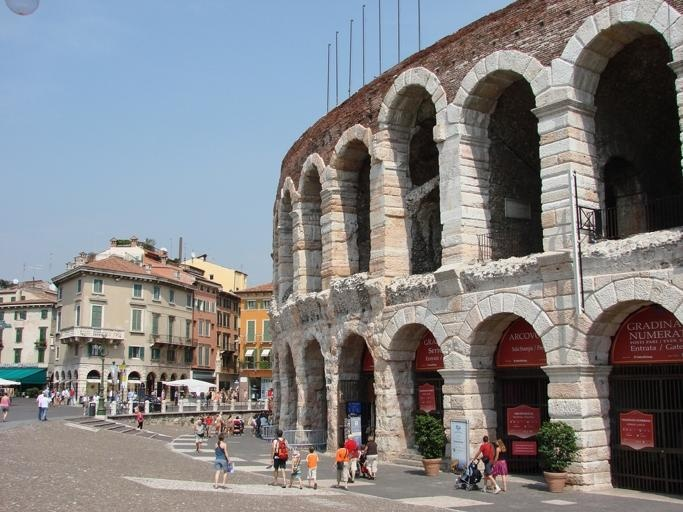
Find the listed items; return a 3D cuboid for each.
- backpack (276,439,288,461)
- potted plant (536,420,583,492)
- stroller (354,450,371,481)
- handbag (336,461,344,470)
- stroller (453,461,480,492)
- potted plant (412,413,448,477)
[{"bbox_3d":[-1.620,5.359,20.771,0.228,0.535,0.475,-4,-16,15],"label":"backpack"},{"bbox_3d":[5.727,5.292,19.922,1.161,1.638,1.073,10,-13,-11],"label":"potted plant"},{"bbox_3d":[0.638,6.351,22.653,0.404,0.508,0.854,-2,-9,6],"label":"stroller"},{"bbox_3d":[-0.020,5.853,21.060,0.258,0.248,0.144,-5,-20,20],"label":"handbag"},{"bbox_3d":[3.468,6.054,20.773,0.876,0.860,0.619,4,-9,-1],"label":"stroller"},{"bbox_3d":[2.765,5.777,23.049,0.944,1.806,0.792,-2,-15,6],"label":"potted plant"}]
